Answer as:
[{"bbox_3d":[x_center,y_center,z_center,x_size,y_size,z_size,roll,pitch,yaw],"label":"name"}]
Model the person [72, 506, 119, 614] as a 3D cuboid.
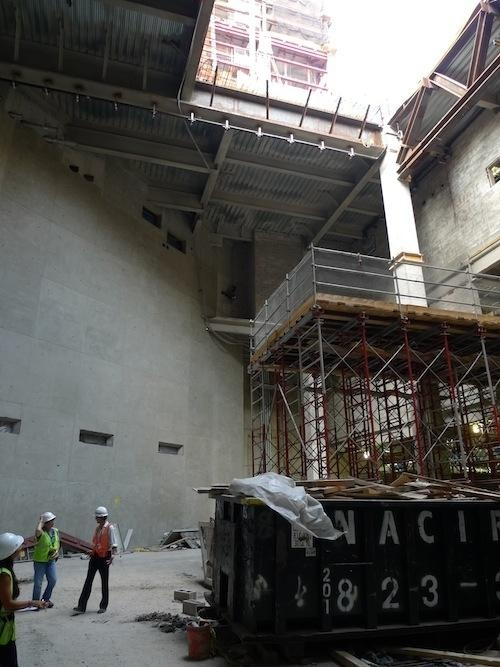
[{"bbox_3d":[-2.644,3.874,8.588,0.592,1.634,0.649,8,-21,-16],"label":"person"}]
